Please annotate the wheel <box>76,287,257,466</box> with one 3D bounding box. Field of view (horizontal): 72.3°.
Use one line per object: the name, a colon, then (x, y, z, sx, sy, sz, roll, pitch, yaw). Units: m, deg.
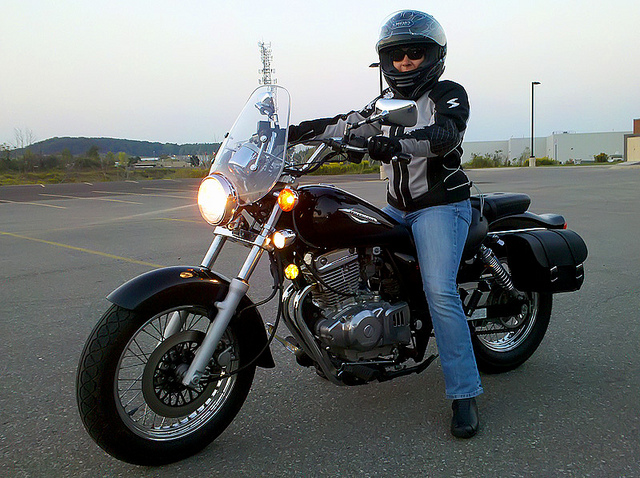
wheel: (-0.885, 0.859, 2.632, 0.902, 1.060, 0.188, -5, 8, -37)
